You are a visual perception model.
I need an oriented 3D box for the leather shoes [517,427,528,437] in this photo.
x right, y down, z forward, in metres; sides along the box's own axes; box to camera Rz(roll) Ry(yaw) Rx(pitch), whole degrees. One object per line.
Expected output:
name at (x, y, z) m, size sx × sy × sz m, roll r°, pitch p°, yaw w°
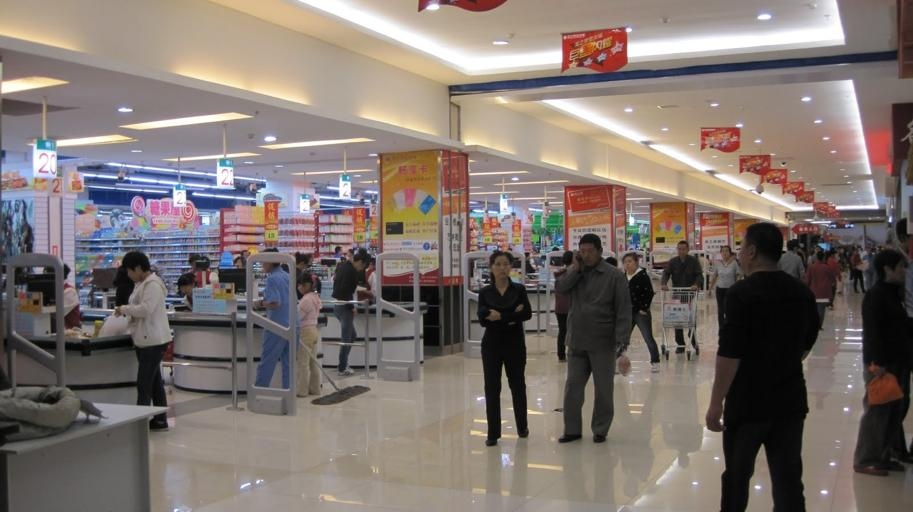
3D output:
leather shoes at (0.834, 2.238, 8.262) m, size 0.155 × 0.126 × 0.095 m, roll 2°, pitch -4°, yaw 5°

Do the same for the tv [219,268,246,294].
tv at (-4.048, 0.484, 11.889) m, size 0.741 × 0.435 × 0.657 m, roll 0°, pitch 3°, yaw -8°

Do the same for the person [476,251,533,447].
person at (0.589, 1.141, 8.093) m, size 0.627 × 2.366 × 0.565 m, roll 0°, pitch 5°, yaw 13°

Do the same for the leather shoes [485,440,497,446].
leather shoes at (0.429, 2.303, 8.034) m, size 0.127 × 0.067 × 0.070 m, roll 4°, pitch -3°, yaw -3°

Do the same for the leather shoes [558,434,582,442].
leather shoes at (1.394, 2.240, 8.093) m, size 0.292 × 0.102 × 0.098 m, roll 2°, pitch -3°, yaw -25°

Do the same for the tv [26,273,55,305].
tv at (-5.391, 0.458, 8.482) m, size 0.361 × 0.304 × 0.619 m, roll 12°, pitch -9°, yaw -21°
